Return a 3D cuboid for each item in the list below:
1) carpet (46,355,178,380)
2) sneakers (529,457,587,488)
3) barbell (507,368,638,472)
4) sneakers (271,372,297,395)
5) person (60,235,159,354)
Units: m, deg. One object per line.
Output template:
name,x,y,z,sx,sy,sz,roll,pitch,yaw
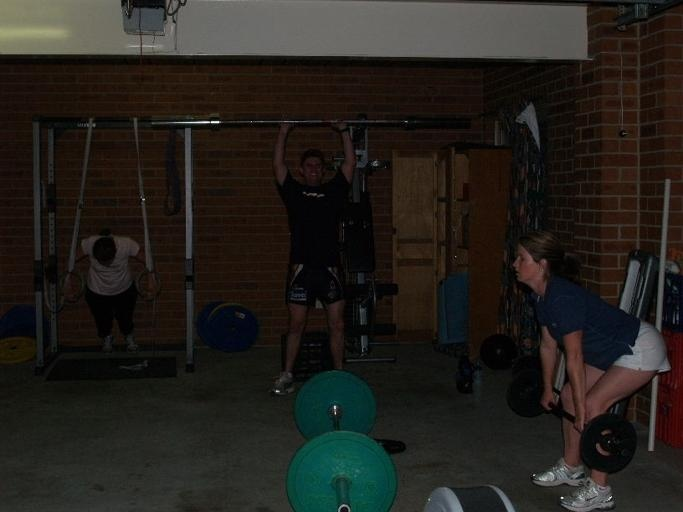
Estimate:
carpet,-2.003,0.979,6.211,1.136,0.082,0.561,0,9,-2
sneakers,1.300,1.291,4.206,0.375,0.197,0.133,1,-2,-2
barbell,1.268,0.888,4.166,0.369,0.375,1.130,21,2,-12
sneakers,-0.452,1.020,5.538,0.091,0.175,0.327,-1,-5,14
person,-2.216,0.354,6.787,0.557,1.223,0.773,-3,9,-22
